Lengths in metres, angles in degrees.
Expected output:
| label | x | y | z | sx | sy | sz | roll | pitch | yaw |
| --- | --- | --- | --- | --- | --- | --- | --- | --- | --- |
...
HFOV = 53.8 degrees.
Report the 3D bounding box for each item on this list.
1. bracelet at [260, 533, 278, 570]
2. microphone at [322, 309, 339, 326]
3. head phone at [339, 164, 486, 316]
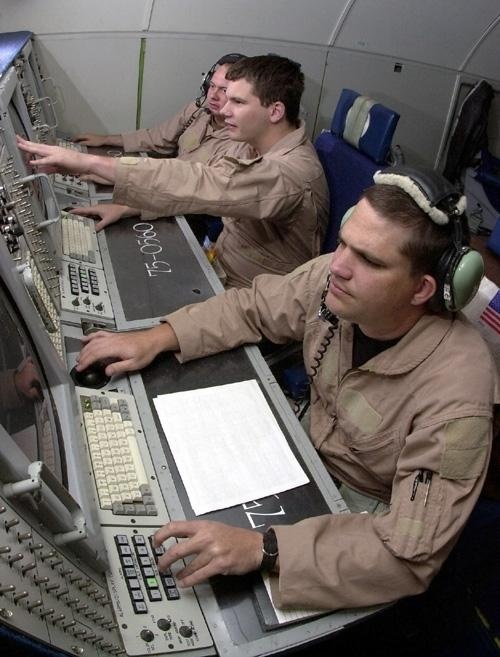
| label | x | y | z | sx | sy | sz | roll | pitch | yaw |
| --- | --- | --- | --- | --- | --- | --- | --- | --- | --- |
| bracelet | 0.035 | 0.389 | 0.861 | 0.025 | 0.049 | 0.040 | 0 | -3 | 31 |
| microphone | 0.191 | -0.027 | 1.160 | 0.030 | 0.019 | 0.027 | 33 | 3 | 35 |
| head phone | 0.381 | -0.186 | 1.049 | 0.183 | 0.257 | 0.318 | -14 | 45 | -34 |
